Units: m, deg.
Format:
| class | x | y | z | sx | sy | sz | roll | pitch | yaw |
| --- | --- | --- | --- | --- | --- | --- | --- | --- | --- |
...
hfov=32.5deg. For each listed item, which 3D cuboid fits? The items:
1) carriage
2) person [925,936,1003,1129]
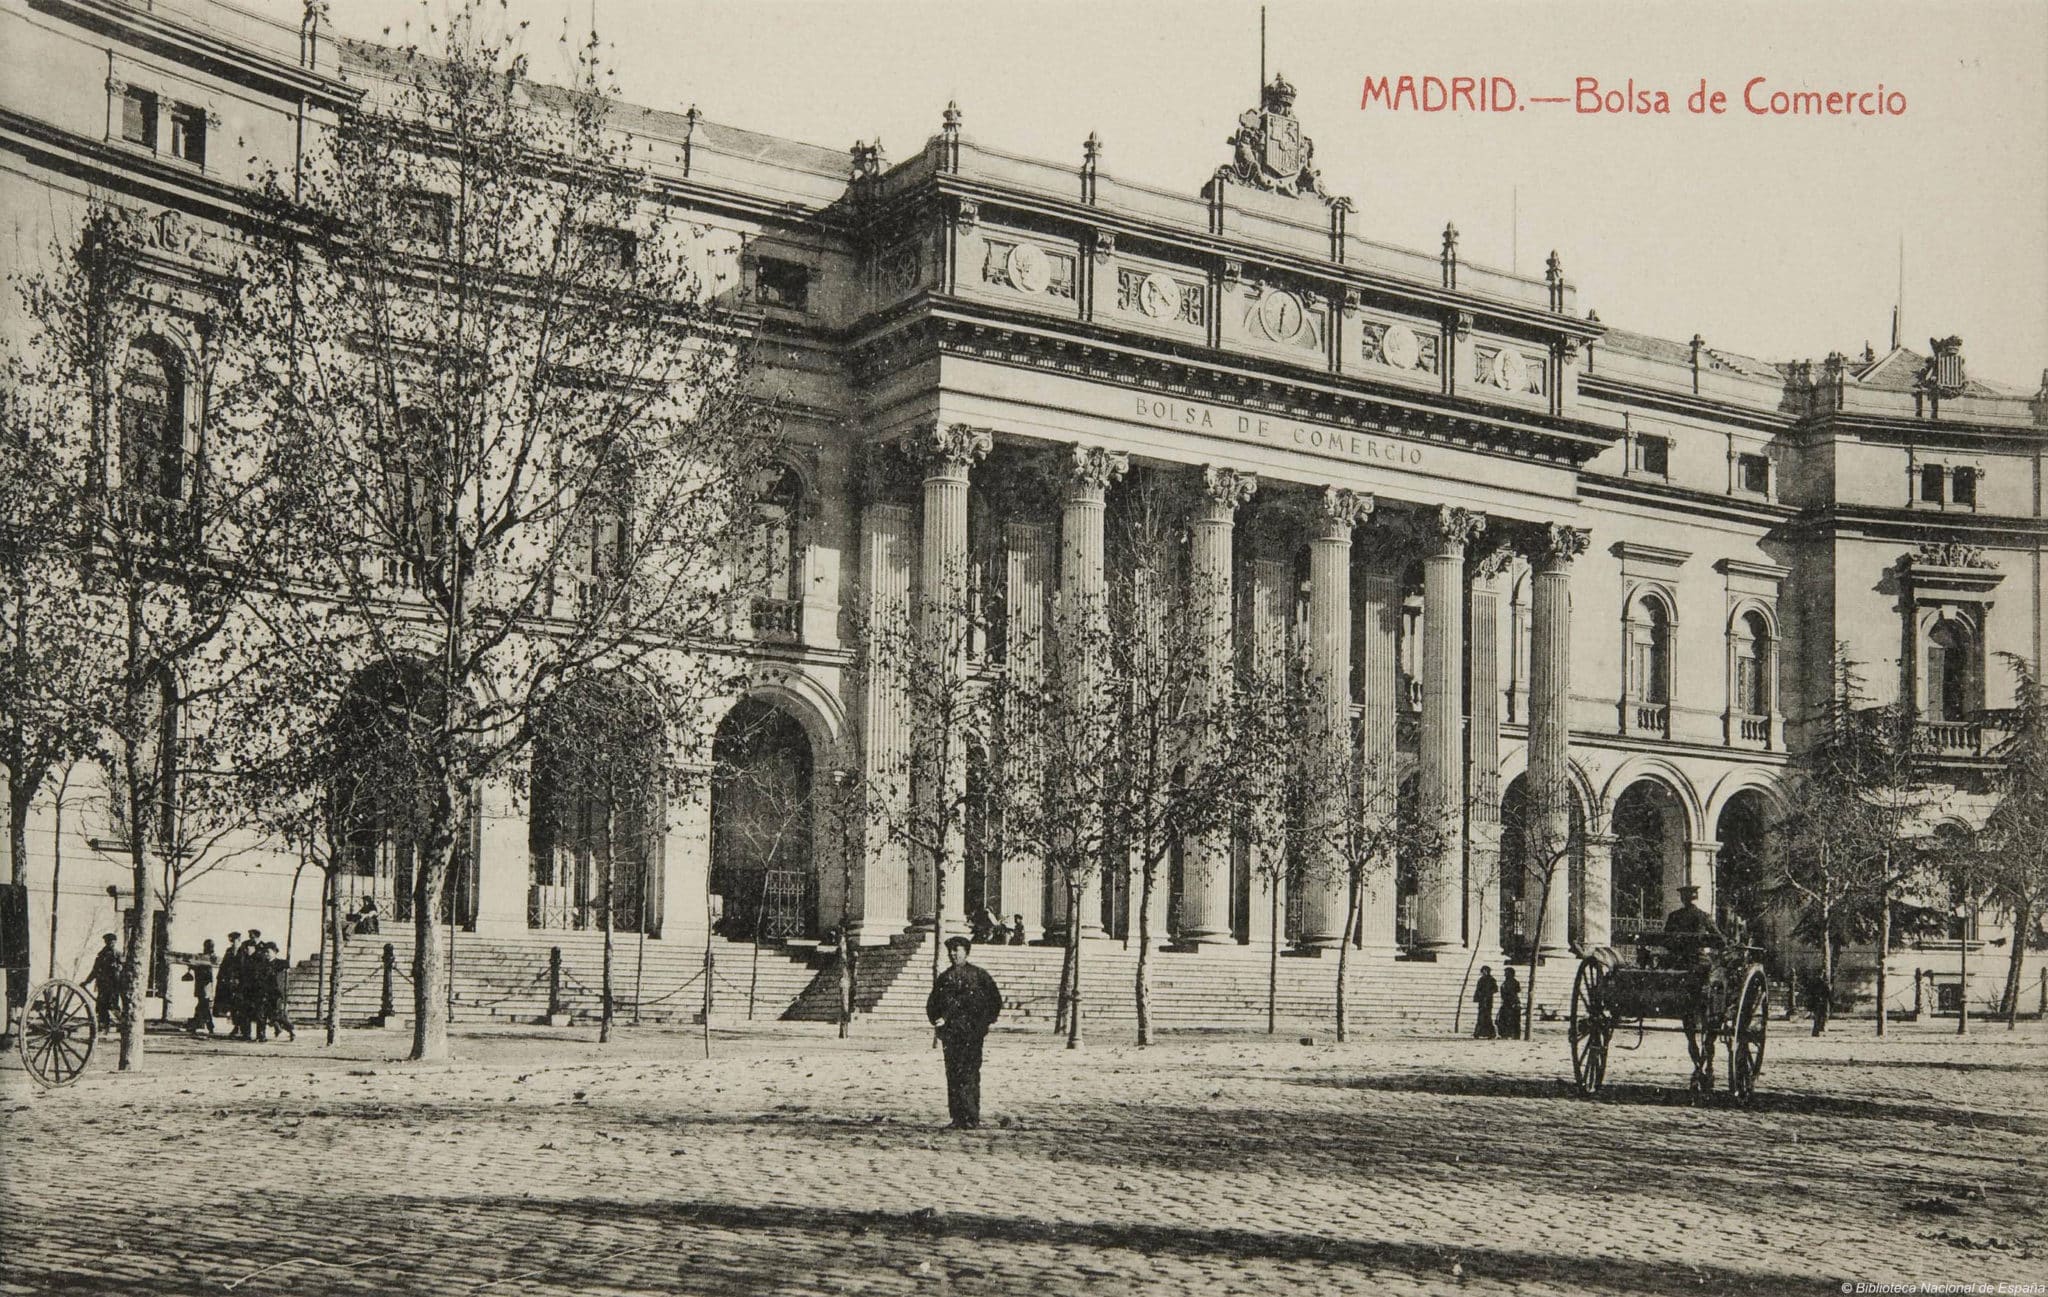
| class | x | y | z | sx | sy | sz | roll | pitch | yaw |
| --- | --- | --- | --- | --- | --- | --- | --- | --- | --- |
| carriage | 11.413 | 6.402 | 63.672 | 2.747 | 2.812 | 3.850 | 1 | 9 | 20 |
| person | -1.147 | 6.525 | 59.956 | 1.183 | 3.167 | 1.363 | 0 | 3 | -6 |
